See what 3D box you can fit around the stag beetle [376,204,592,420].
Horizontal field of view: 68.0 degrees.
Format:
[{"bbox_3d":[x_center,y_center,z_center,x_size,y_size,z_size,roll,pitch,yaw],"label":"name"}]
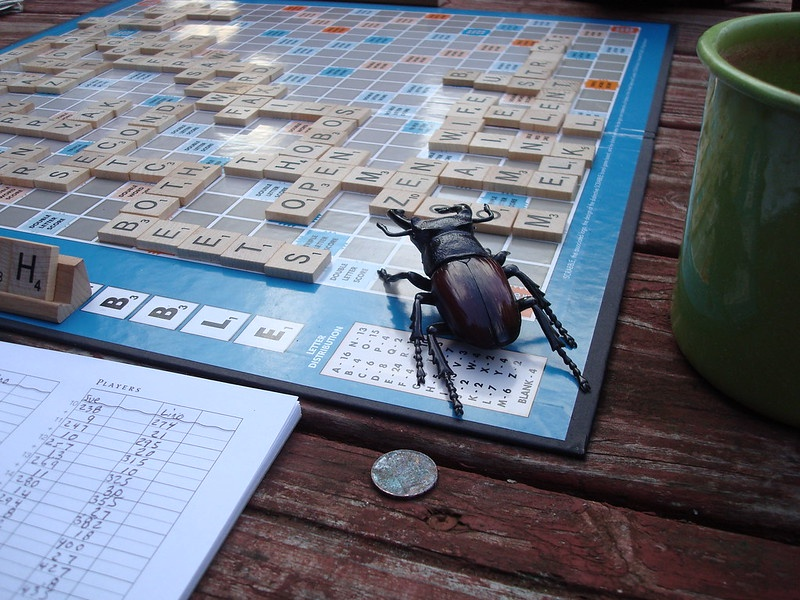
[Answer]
[{"bbox_3d":[0.138,-0.010,1.376,0.426,0.122,0.493,-7,35,-12],"label":"stag beetle"}]
